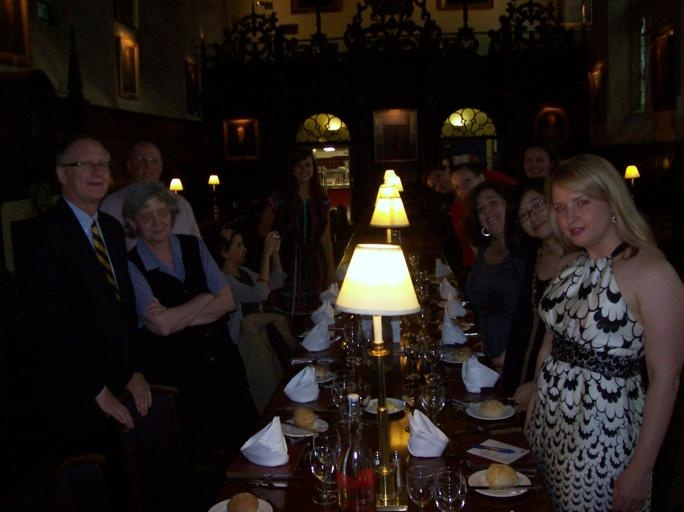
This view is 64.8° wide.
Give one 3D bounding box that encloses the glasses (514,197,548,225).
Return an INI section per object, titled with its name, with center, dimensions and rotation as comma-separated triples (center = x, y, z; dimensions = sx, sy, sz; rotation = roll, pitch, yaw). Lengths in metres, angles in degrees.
[glasses]
center = 1.215, -0.280, 3.440
dimensions = 0.168, 0.242, 0.096
rotation = -14, -18, 42

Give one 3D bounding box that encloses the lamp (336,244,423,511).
[lamp]
center = 0.165, 0.479, 2.241
dimensions = 0.267, 1.050, 0.298
rotation = -8, 11, -33

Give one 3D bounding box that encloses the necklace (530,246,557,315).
[necklace]
center = 1.292, 0.122, 3.407
dimensions = 0.104, 0.451, 0.252
rotation = 7, -21, 3

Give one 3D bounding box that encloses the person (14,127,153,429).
[person]
center = -1.448, 0.131, 3.091
dimensions = 0.609, 1.613, 0.598
rotation = -4, 10, -12

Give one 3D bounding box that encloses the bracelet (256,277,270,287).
[bracelet]
center = -0.715, 0.235, 4.938
dimensions = 0.073, 0.100, 0.101
rotation = -1, 1, 2
